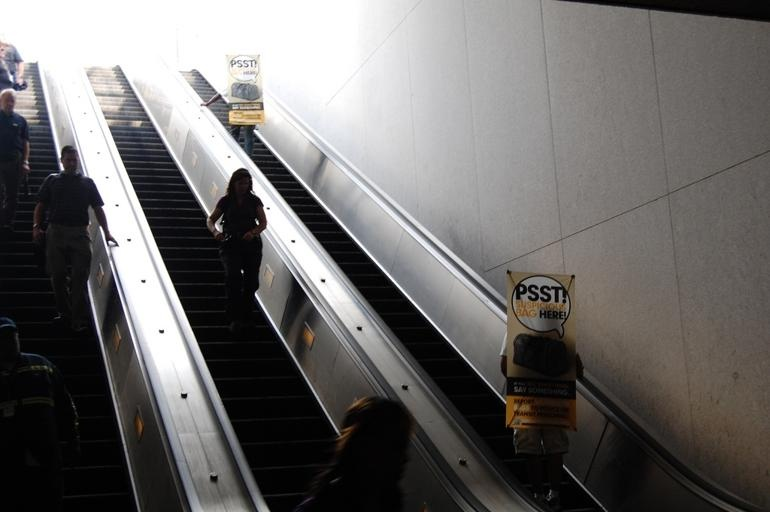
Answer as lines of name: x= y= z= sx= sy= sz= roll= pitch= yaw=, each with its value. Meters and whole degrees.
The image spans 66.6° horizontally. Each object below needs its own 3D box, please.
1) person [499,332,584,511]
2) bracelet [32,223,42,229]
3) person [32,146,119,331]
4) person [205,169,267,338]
person: x=1.351 y=1.441 z=5.127 sx=0.648 sy=1.522 sz=0.866 roll=7 pitch=12 yaw=43
bracelet: x=-3.742 y=-0.325 z=6.286 sx=0.070 sy=0.074 sz=0.069 roll=3 pitch=-7 yaw=2
person: x=-3.314 y=-0.215 z=6.248 sx=0.729 sy=1.896 sz=0.615 roll=-6 pitch=10 yaw=-32
person: x=-1.608 y=-0.079 z=6.402 sx=0.604 sy=1.734 sz=0.324 roll=-3 pitch=9 yaw=-17
